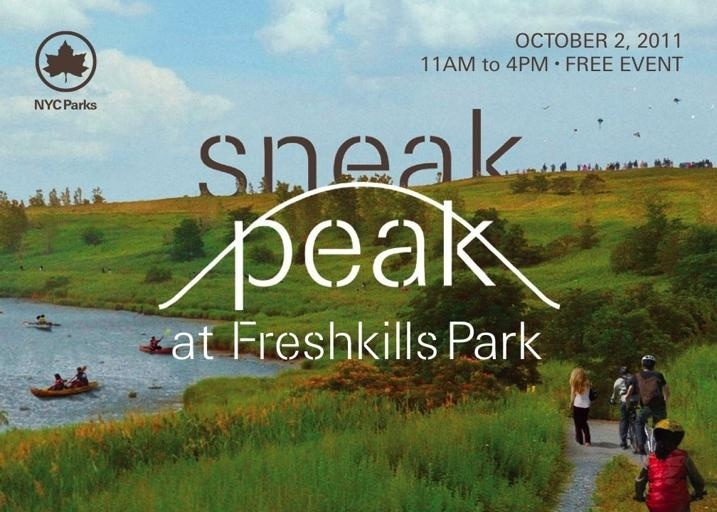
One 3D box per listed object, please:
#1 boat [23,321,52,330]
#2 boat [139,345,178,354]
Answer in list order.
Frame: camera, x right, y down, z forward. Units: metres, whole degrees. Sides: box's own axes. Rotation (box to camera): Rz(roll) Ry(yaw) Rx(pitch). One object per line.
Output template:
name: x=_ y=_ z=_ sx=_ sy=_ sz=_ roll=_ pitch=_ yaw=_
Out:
boat: x=-41.675 y=9.071 z=215.698 sx=2.989 sy=1.170 sz=4.863 roll=2 pitch=-4 yaw=-44
boat: x=-25.413 y=11.540 z=202.794 sx=4.575 sy=1.320 sz=1.444 roll=-1 pitch=0 yaw=25
